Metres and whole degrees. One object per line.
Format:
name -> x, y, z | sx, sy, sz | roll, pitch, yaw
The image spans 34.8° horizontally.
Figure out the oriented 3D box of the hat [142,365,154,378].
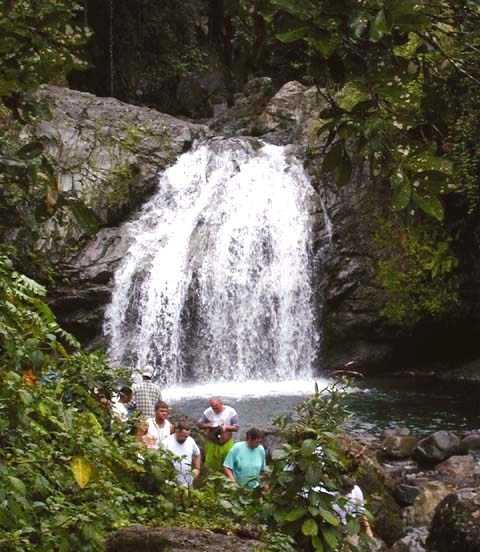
hat -> -0.839, 0.869, 6.968 | 0.130, 0.106, 0.204 | 13, -7, -6
